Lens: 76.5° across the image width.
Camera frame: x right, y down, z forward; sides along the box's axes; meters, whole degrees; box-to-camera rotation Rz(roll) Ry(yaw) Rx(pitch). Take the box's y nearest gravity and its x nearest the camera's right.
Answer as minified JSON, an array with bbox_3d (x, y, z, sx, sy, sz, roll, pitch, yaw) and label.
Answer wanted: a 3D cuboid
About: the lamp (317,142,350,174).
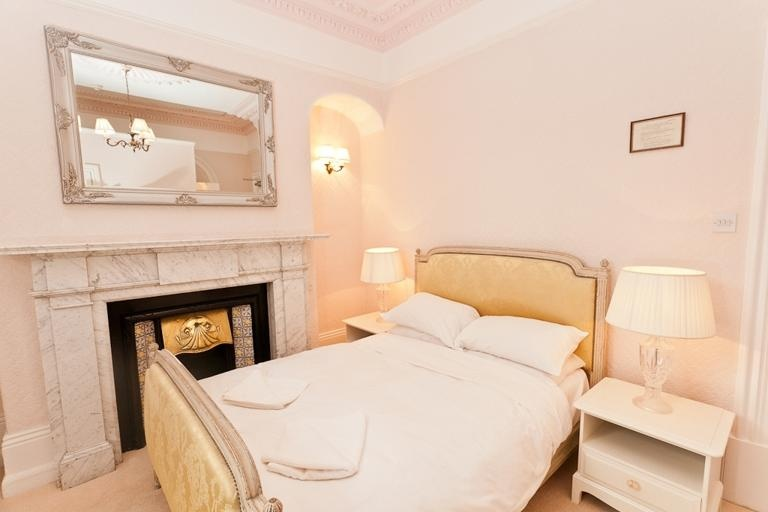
[{"bbox_3d":[-0.578,-1.087,5.619,0.306,0.361,0.483,2,5,45],"label":"lamp"}]

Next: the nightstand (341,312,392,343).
[{"bbox_3d":[-0.182,0.747,5.150,0.369,0.390,0.411,-6,8,-38],"label":"nightstand"}]

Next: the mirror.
[{"bbox_3d":[-2.021,-1.251,4.255,1.795,1.255,0.080,-8,13,-41],"label":"mirror"}]

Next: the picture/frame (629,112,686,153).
[{"bbox_3d":[2.161,-0.974,3.838,0.365,0.260,0.032,2,4,42],"label":"picture/frame"}]
